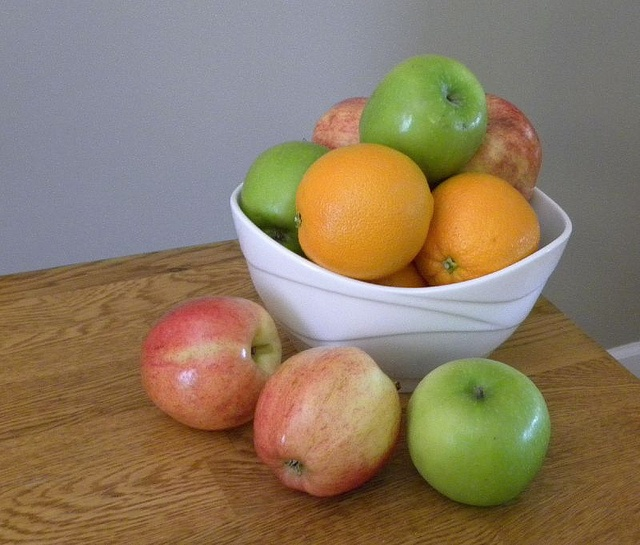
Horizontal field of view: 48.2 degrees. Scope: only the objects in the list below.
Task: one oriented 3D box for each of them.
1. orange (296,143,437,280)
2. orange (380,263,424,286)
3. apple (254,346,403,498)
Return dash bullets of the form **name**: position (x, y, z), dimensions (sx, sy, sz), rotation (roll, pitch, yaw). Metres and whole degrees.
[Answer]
- **orange**: position (0.042, -0.069, 0.788), dimensions (0.170, 0.161, 0.137), rotation (7, 88, -17)
- **orange**: position (0.097, -0.001, 0.810), dimensions (0.035, 0.028, 0.029), rotation (3, 12, 0)
- **apple**: position (0.006, 0.153, 0.738), dimensions (0.153, 0.133, 0.146), rotation (22, 46, -14)
